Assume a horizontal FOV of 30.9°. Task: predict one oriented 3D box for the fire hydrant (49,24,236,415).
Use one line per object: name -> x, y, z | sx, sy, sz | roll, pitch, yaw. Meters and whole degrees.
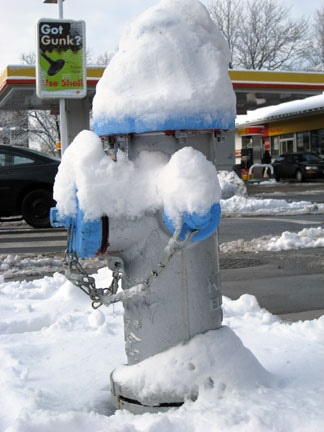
fire hydrant -> -0.095, 0.006, 2.406 | 0.659, 1.563, 0.654 | -11, 13, -38
